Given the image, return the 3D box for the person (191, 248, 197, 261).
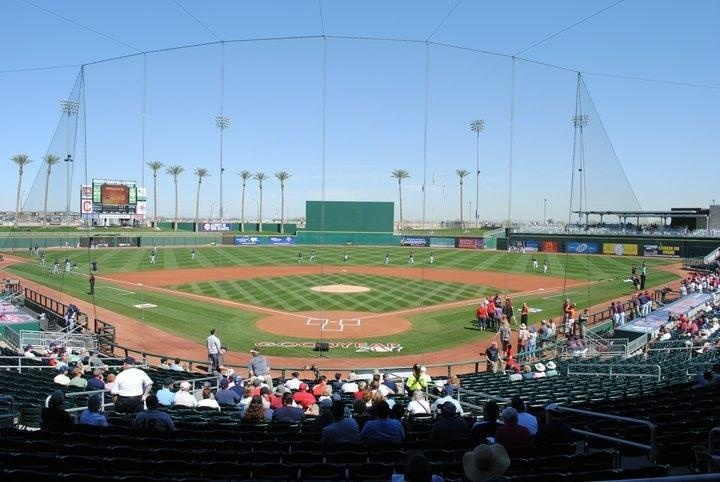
[{"bbox_3d":[-13.845,1.148,60.406,0.354,0.767,1.439,5,15,-7],"label":"person"}]
